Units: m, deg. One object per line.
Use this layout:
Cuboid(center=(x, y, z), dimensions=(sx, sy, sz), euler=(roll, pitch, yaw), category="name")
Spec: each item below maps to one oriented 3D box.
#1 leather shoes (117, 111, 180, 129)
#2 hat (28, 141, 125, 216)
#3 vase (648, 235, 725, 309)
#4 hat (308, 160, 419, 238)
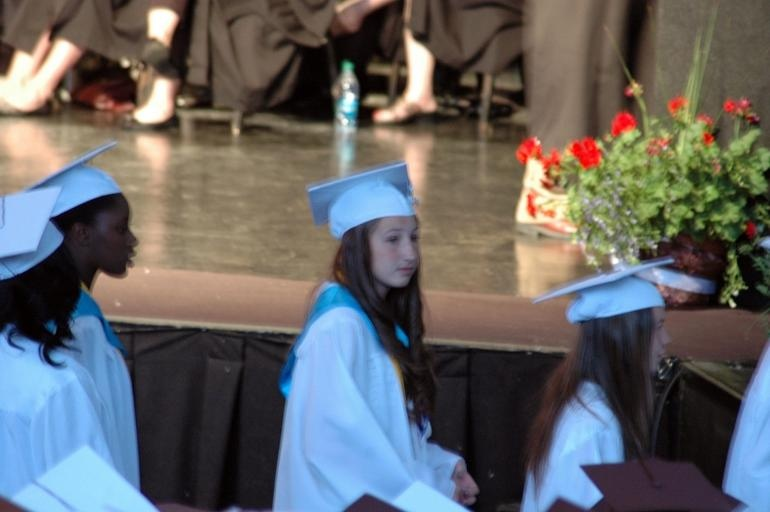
Cuboid(center=(-1.577, -0.909, 6.467), dimensions=(0.384, 0.089, 0.263), euler=(0, 13, -15), category="leather shoes")
Cuboid(center=(-1.060, -0.255, 3.375), dimensions=(0.269, 0.109, 0.273), euler=(-23, 2, 4), category="hat")
Cuboid(center=(1.335, 0.064, 4.234), dimensions=(0.313, 0.293, 0.319), euler=(5, 5, 5), category="vase")
Cuboid(center=(-0.080, -0.201, 3.432), dimensions=(0.294, 0.097, 0.324), euler=(-18, -9, 1), category="hat")
